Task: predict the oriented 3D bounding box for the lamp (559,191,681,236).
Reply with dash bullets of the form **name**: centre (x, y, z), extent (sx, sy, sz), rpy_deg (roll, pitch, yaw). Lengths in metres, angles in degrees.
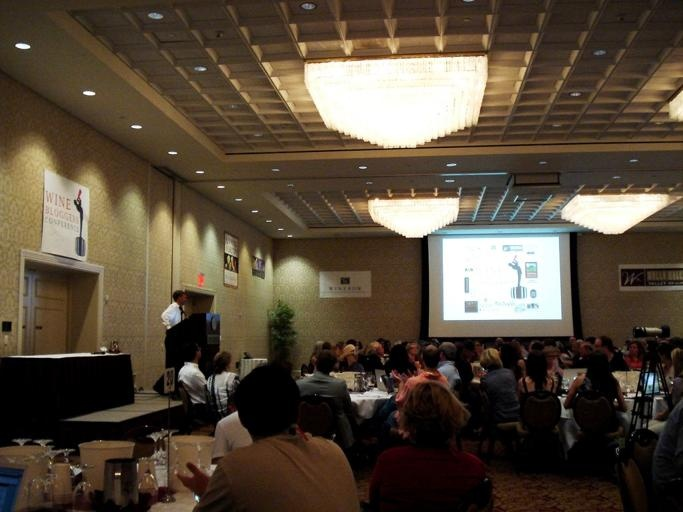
- **lamp**: centre (6.659, -1.075, 12.026), extent (2.162, 0.675, 1.057), rpy_deg (-3, -12, 5)
